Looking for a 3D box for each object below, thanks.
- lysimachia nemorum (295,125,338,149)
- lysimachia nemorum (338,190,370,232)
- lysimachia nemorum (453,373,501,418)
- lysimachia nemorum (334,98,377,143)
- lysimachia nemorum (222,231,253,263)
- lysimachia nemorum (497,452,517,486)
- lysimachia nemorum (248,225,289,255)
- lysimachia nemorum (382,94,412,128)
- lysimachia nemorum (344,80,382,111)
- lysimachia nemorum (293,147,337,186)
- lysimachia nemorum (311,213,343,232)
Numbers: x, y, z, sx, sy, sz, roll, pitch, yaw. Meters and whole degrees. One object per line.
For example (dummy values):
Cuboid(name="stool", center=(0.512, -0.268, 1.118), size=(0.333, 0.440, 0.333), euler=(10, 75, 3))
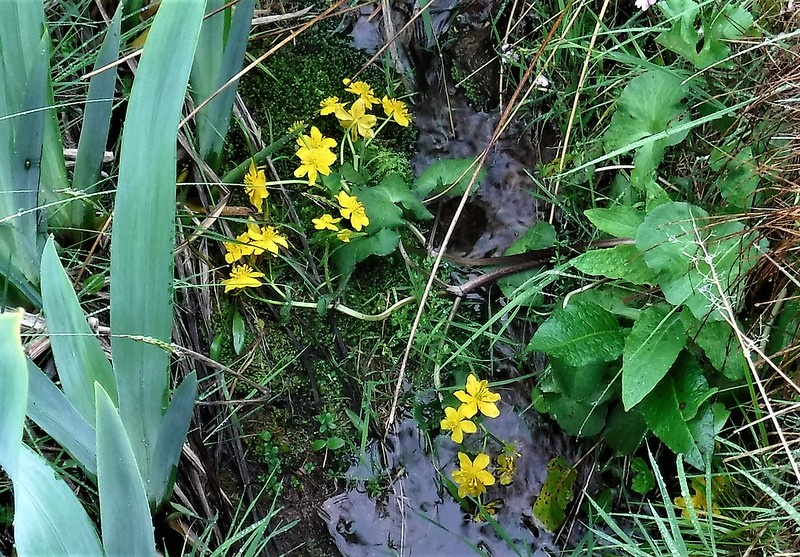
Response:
Cuboid(name="lysimachia nemorum", center=(-0.235, -0.381, 1.786), size=(0.078, 0.032, 0.083), euler=(-27, 75, -23))
Cuboid(name="lysimachia nemorum", center=(-0.128, -0.174, 1.759), size=(0.068, 0.086, 0.121), euler=(-16, 57, -10))
Cuboid(name="lysimachia nemorum", center=(0.203, 0.315, 1.691), size=(0.106, 0.041, 0.122), euler=(9, 70, -7))
Cuboid(name="lysimachia nemorum", center=(-0.126, -0.439, 1.829), size=(0.104, 0.111, 0.048), euler=(-20, 16, 10))
Cuboid(name="lysimachia nemorum", center=(-0.433, -0.084, 1.723), size=(0.077, 0.035, 0.077), euler=(-15, 76, 2))
Cuboid(name="lysimachia nemorum", center=(0.295, 0.528, 1.789), size=(0.061, 0.089, 0.071), euler=(-7, 55, -4))
Cuboid(name="lysimachia nemorum", center=(-0.359, -0.110, 1.739), size=(0.083, 0.029, 0.085), euler=(-14, 56, -47))
Cuboid(name="lysimachia nemorum", center=(-0.016, -0.479, 1.875), size=(0.084, 0.064, 0.071), euler=(13, 56, 9))
Cuboid(name="lysimachia nemorum", center=(-0.110, -0.540, 1.854), size=(0.035, 0.093, 0.090), euler=(-53, 43, -2))
Cuboid(name="lysimachia nemorum", center=(-0.240, -0.299, 1.755), size=(0.096, 0.035, 0.108), euler=(21, 84, 10))
Cuboid(name="lysimachia nemorum", center=(-0.193, -0.147, 1.748), size=(0.054, 0.026, 0.055), euler=(34, 62, -21))
